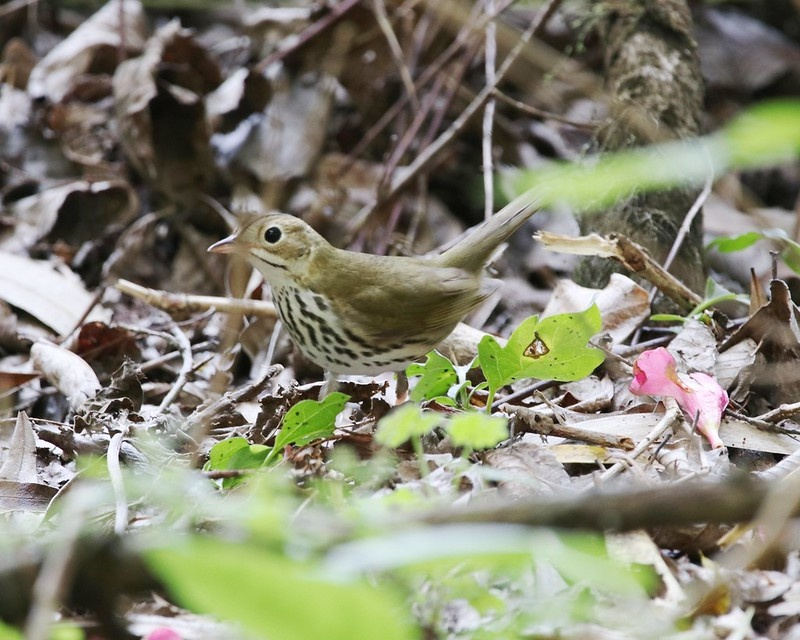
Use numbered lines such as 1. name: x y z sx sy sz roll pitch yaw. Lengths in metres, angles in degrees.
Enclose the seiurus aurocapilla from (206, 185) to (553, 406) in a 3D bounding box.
1. seiurus aurocapilla: -0.101 -0.066 3.180 1.128 0.476 0.731 -12 54 3
